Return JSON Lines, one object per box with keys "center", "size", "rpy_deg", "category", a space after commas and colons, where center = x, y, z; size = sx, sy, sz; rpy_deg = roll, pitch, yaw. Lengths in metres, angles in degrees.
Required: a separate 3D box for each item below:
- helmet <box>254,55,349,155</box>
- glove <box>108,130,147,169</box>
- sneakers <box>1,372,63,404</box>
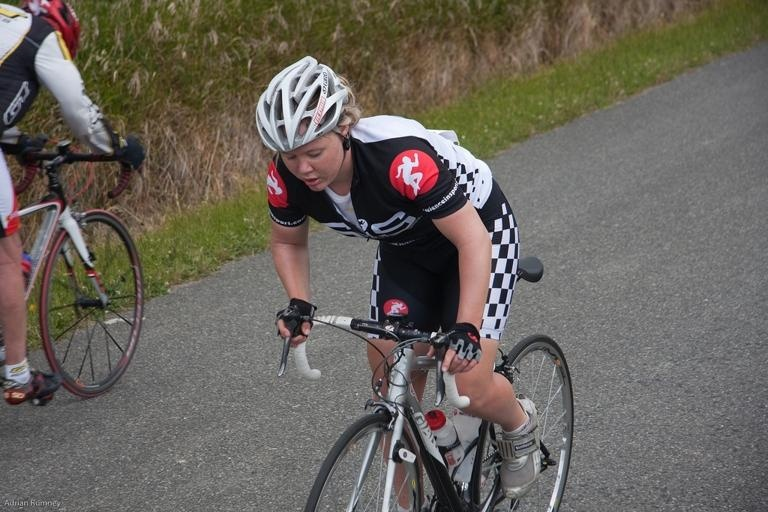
{"center": [-0.503, -0.981, 5.406], "size": [0.484, 0.238, 0.640], "rpy_deg": [10, 50, 22], "category": "helmet"}
{"center": [-2.165, -0.893, 7.261], "size": [0.318, 0.279, 0.227], "rpy_deg": [-6, 3, -31], "category": "glove"}
{"center": [-2.762, 1.059, 6.748], "size": [0.200, 0.245, 0.382], "rpy_deg": [-1, 5, 45], "category": "sneakers"}
